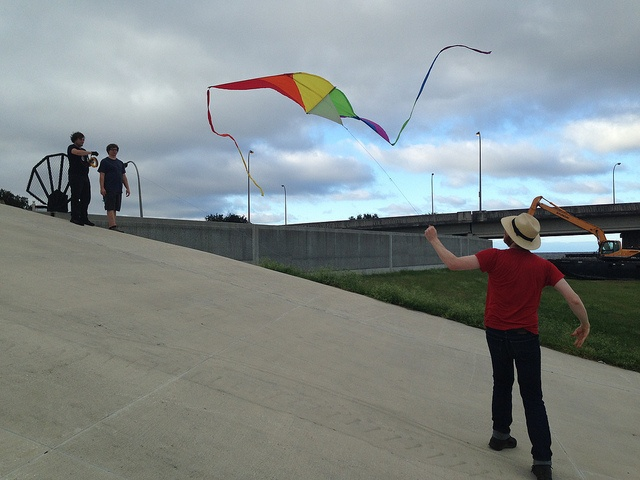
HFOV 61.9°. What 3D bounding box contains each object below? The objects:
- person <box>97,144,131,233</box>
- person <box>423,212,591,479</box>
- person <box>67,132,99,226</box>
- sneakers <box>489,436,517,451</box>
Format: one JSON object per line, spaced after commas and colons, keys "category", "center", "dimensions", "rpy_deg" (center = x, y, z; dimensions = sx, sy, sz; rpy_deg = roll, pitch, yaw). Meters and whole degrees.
{"category": "person", "center": [-4.106, -1.019, 10.593], "dimensions": [0.567, 1.698, 0.939], "rpy_deg": [6, 6, -24]}
{"category": "person", "center": [1.984, 0.979, 5.568], "dimensions": [1.394, 2.445, 0.920], "rpy_deg": [12, 6, 30]}
{"category": "person", "center": [-4.609, -1.157, 10.291], "dimensions": [0.547, 1.741, 0.570], "rpy_deg": [6, 6, -28]}
{"category": "sneakers", "center": [1.914, 2.125, 5.637], "dimensions": [0.306, 0.148, 0.118], "rpy_deg": [-3, 4, -20]}
